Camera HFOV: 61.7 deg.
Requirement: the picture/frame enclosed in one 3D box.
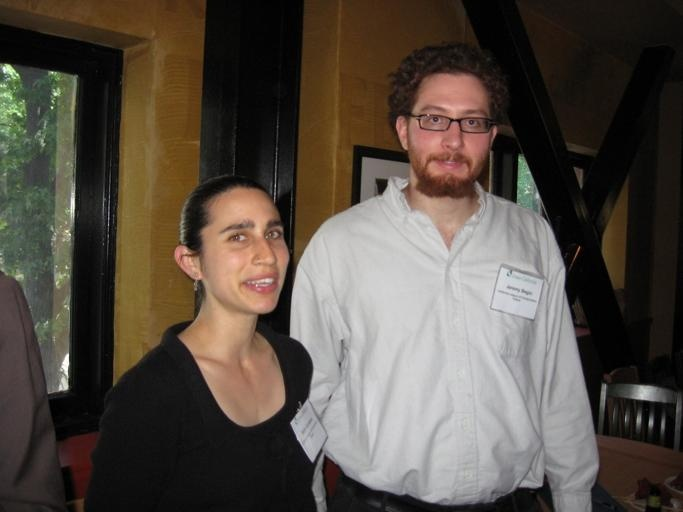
[{"bbox_3d":[0.220,-0.518,3.617,0.037,0.560,0.542,-3,-4,44],"label":"picture/frame"}]
